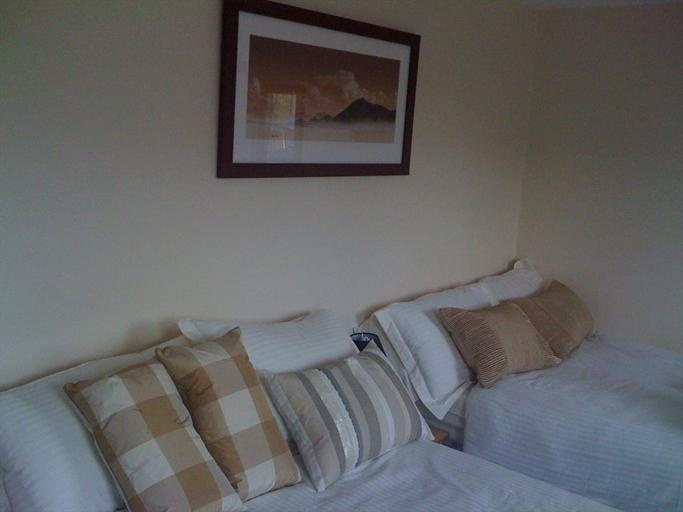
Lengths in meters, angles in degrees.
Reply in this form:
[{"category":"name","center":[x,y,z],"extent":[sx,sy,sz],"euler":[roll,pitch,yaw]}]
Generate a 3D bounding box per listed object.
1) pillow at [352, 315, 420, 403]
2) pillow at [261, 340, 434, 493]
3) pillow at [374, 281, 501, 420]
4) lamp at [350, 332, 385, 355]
[{"category":"pillow","center":[0.197,0.482,2.352],"extent":[0.253,0.418,0.084],"euler":[-28,-8,-13]},{"category":"pillow","center":[0.014,0.523,1.769],"extent":[0.156,0.396,0.514],"euler":[-38,-18,35]},{"category":"pillow","center":[0.372,0.480,2.379],"extent":[0.633,0.486,0.167],"euler":[-18,-8,-37]},{"category":"lamp","center":[0.123,0.382,2.289],"extent":[0.111,0.112,0.033],"euler":[-15,-17,-49]}]
